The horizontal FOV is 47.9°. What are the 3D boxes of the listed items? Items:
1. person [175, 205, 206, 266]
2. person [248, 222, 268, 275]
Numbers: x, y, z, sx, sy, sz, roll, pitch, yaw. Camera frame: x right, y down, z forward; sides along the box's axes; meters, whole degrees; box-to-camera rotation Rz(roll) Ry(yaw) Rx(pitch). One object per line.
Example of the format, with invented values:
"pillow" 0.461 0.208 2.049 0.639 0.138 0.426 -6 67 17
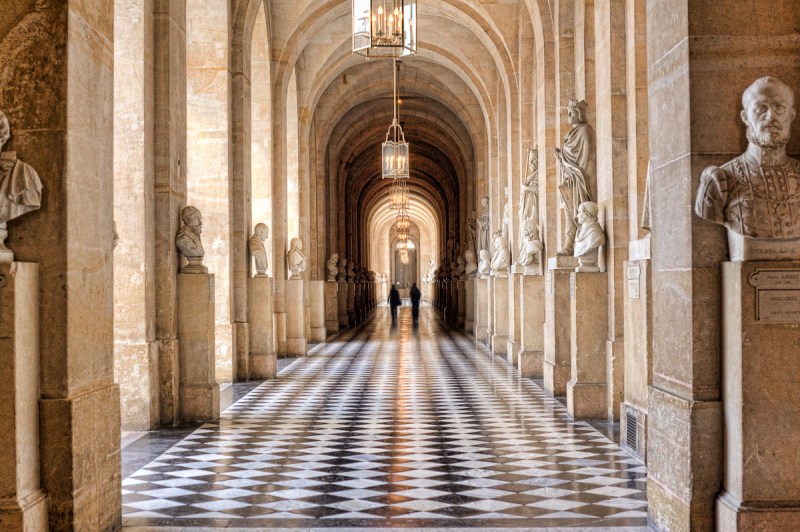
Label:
"person" -3.185 -0.468 13.660 0.377 0.941 0.411 -2 -2 1
"person" -2.813 -0.328 17.660 0.423 1.118 1.058 -1 1 -7
